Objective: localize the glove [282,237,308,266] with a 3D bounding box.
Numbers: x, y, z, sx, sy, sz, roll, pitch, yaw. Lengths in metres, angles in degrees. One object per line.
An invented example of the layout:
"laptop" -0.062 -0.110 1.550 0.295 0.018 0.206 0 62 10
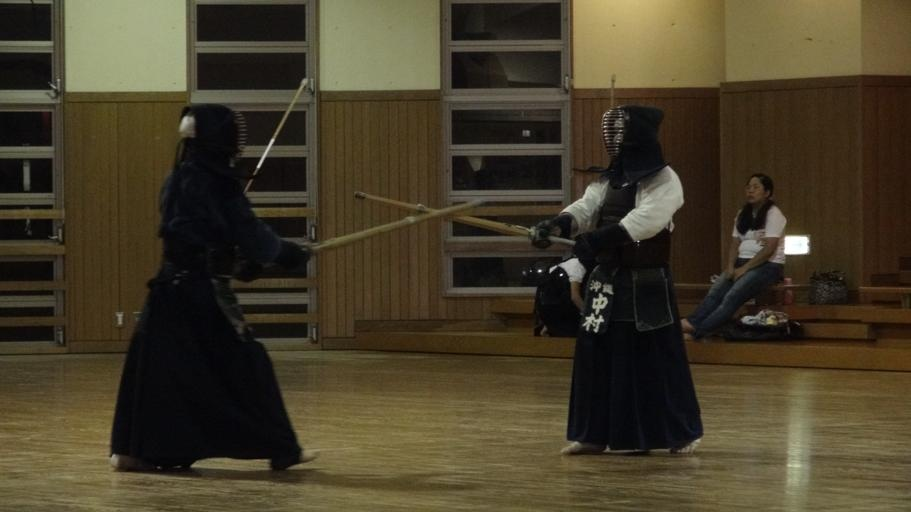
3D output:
"glove" -1.387 -0.035 9.385 0.267 0.207 0.188 1 3 -25

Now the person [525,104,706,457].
"person" 1.465 0.225 9.763 1.588 2.898 1.186 2 0 19

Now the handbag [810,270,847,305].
"handbag" 4.384 0.382 13.131 0.493 0.334 0.448 3 9 23

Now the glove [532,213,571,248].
"glove" 0.853 -0.228 9.816 0.410 0.173 0.244 -14 50 -43
